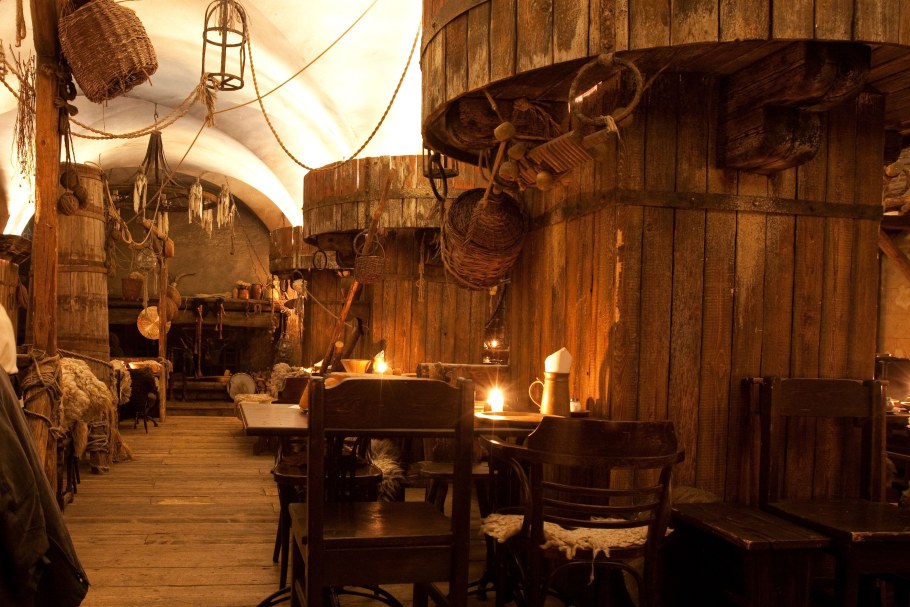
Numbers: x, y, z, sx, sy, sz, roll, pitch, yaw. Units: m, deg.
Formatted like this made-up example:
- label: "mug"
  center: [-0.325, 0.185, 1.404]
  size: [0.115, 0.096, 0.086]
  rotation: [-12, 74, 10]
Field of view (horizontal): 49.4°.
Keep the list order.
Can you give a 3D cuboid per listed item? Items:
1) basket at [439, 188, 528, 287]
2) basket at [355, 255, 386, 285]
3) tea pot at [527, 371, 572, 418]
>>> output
- label: "basket"
  center: [0.156, -0.514, 7.599]
  size: [0.633, 0.751, 0.573]
  rotation: [0, -5, 33]
- label: "basket"
  center: [-0.805, -0.315, 9.296]
  size: [0.240, 0.210, 0.249]
  rotation: [1, -6, -9]
- label: "tea pot"
  center: [0.667, 0.662, 7.048]
  size: [0.351, 0.340, 0.224]
  rotation: [-3, -10, 28]
